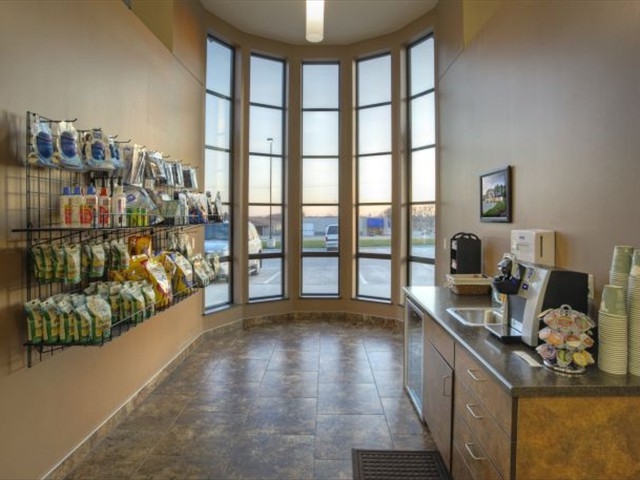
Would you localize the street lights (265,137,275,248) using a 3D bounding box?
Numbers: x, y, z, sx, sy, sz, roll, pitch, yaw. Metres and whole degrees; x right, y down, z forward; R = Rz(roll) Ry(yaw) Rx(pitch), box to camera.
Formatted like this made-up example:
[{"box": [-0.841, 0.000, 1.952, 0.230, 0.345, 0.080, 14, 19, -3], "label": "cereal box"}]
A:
[{"box": [-0.670, -0.686, 6.526, 0.109, 1.574, 0.163, -1, 7, -9], "label": "street lights"}]
